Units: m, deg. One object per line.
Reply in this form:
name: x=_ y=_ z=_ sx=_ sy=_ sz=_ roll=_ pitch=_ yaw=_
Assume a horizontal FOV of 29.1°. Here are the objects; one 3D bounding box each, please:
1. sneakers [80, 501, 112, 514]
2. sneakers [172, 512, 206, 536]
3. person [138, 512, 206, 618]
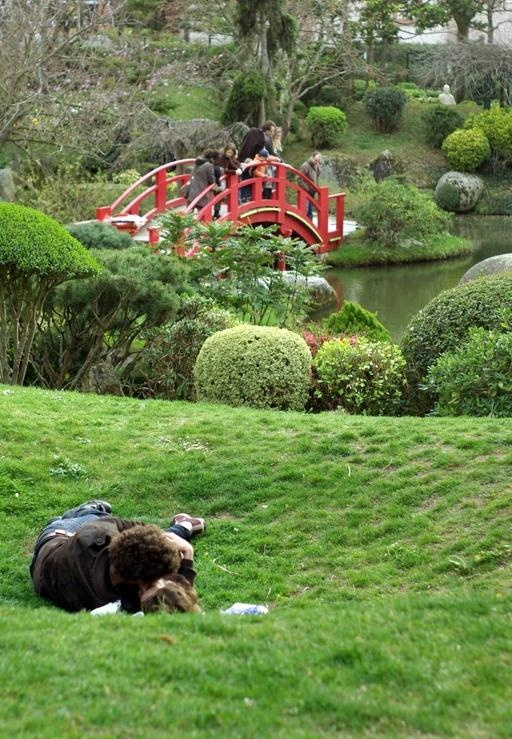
sneakers: x=-0.911 y=0.786 z=5.660 sx=0.076 sy=0.051 sz=0.134 roll=13 pitch=-6 yaw=35
sneakers: x=-0.401 y=0.947 z=5.975 sx=0.243 sy=0.088 sz=0.106 roll=7 pitch=9 yaw=30
person: x=-0.482 y=1.012 z=5.515 sx=0.353 sy=0.404 sz=1.319 roll=-13 pitch=2 yaw=0
